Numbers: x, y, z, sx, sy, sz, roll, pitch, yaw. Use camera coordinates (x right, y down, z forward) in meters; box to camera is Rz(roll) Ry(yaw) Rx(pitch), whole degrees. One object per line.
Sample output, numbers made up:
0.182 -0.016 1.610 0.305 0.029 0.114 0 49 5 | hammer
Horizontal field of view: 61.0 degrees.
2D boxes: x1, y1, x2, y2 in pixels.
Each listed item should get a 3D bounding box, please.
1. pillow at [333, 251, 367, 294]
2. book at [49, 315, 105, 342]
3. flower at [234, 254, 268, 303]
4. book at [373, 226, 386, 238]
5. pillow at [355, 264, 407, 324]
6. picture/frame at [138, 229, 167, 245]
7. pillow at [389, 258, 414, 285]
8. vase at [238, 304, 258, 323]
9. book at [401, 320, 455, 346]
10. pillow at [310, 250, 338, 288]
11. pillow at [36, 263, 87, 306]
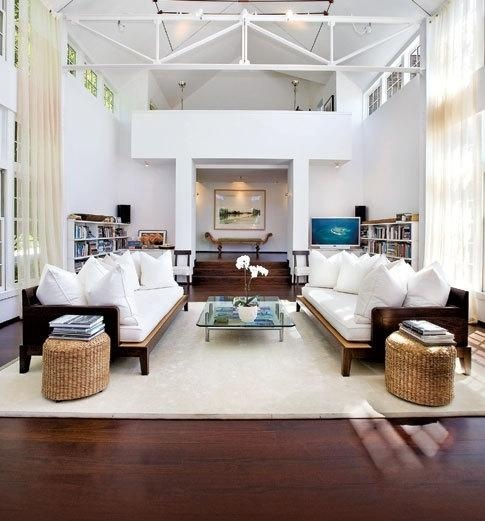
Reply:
1.195 0.151 4.602 0.147 0.436 0.373 9 7 -19 | pillow
-1.157 0.466 2.844 0.335 0.129 0.210 -1 8 -6 | book
0.134 0.322 6.771 0.623 0.950 0.568 2 -3 -42 | flower
2.662 -0.545 7.948 0.153 0.247 0.237 0 5 2 | book
1.142 0.257 3.416 0.341 0.521 0.643 1 0 32 | pillow
-2.113 -0.548 9.680 0.674 0.320 0.515 -2 8 -16 | picture/frame
1.362 0.106 3.546 0.208 0.264 0.072 -27 9 -39 | pillow
0.049 0.506 3.882 0.147 0.121 0.144 0 -9 -4 | vase
1.243 0.497 2.794 0.174 0.065 0.254 1 1 -1 | book
1.014 0.123 5.190 0.450 0.500 0.179 7 -10 38 | pillow
-1.433 0.202 3.299 0.246 0.373 0.494 4 -5 -4 | pillow
